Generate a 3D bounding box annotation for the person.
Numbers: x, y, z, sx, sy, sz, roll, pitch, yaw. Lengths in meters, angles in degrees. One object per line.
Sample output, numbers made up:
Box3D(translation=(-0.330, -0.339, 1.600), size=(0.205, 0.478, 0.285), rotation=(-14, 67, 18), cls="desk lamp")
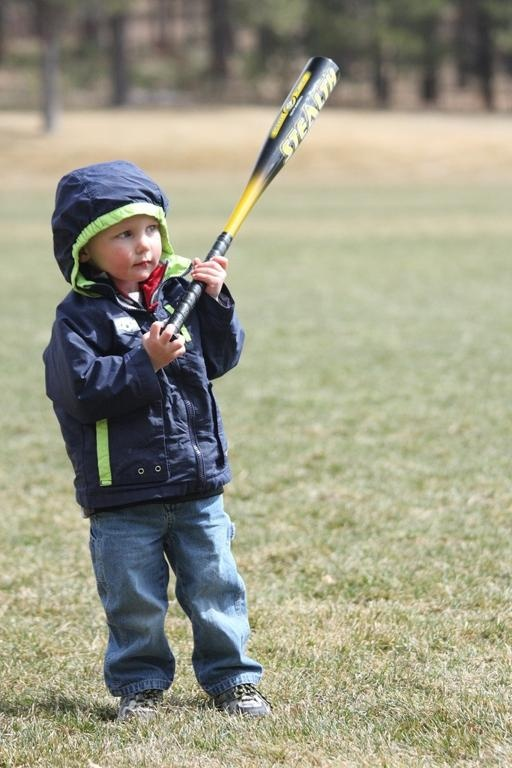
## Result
Box3D(translation=(-0.231, 0.110, 2.379), size=(0.445, 1.210, 0.399), rotation=(-2, 7, -6), cls="person")
